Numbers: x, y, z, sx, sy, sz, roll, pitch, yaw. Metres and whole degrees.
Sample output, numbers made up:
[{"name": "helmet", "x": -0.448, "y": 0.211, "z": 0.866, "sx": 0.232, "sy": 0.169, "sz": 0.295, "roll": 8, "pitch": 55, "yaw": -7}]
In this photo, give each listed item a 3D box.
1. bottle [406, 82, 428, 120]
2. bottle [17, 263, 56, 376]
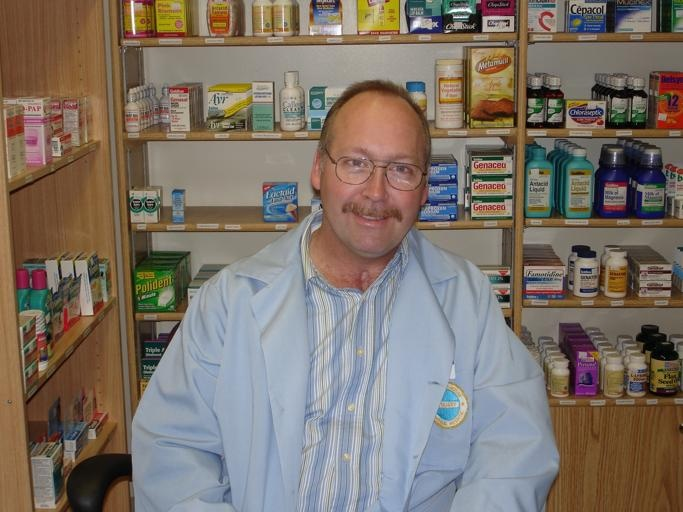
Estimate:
[{"name": "bottle", "x": 0.382, "y": -0.767, "z": 3.285, "sx": 0.112, "sy": 0.227, "sz": 0.123, "roll": -2, "pitch": 7, "yaw": 0}, {"name": "bottle", "x": -1.221, "y": 0.248, "z": 2.588, "sx": 0.101, "sy": 0.398, "sz": 0.210, "roll": -3, "pitch": 10, "yaw": -9}]
